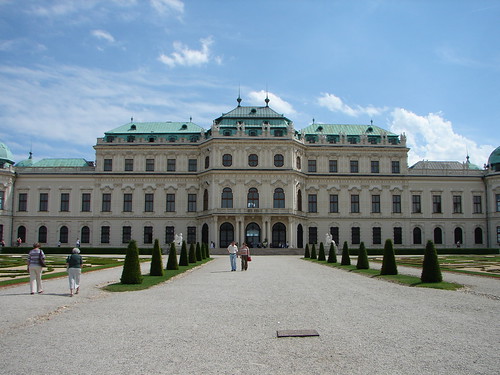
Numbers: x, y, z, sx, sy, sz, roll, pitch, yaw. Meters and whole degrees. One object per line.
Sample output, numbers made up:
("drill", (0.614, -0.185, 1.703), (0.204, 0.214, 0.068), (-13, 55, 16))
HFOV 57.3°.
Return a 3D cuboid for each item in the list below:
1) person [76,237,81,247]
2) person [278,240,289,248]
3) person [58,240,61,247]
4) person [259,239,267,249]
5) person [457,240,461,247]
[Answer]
("person", (-23.816, 7.694, 63.717), (0.642, 1.251, 2.042), (0, -3, -21))
("person", (4.528, 7.843, 61.646), (1.305, 0.912, 0.705), (-1, 2, 1))
("person", (-26.545, 7.779, 63.834), (0.445, 0.759, 1.127), (0, -3, -23))
("person", (1.922, 7.394, 60.786), (0.997, 1.004, 1.850), (0, -2, 10))
("person", (29.838, 8.089, 65.425), (0.535, 0.973, 1.397), (-3, -4, 32))
